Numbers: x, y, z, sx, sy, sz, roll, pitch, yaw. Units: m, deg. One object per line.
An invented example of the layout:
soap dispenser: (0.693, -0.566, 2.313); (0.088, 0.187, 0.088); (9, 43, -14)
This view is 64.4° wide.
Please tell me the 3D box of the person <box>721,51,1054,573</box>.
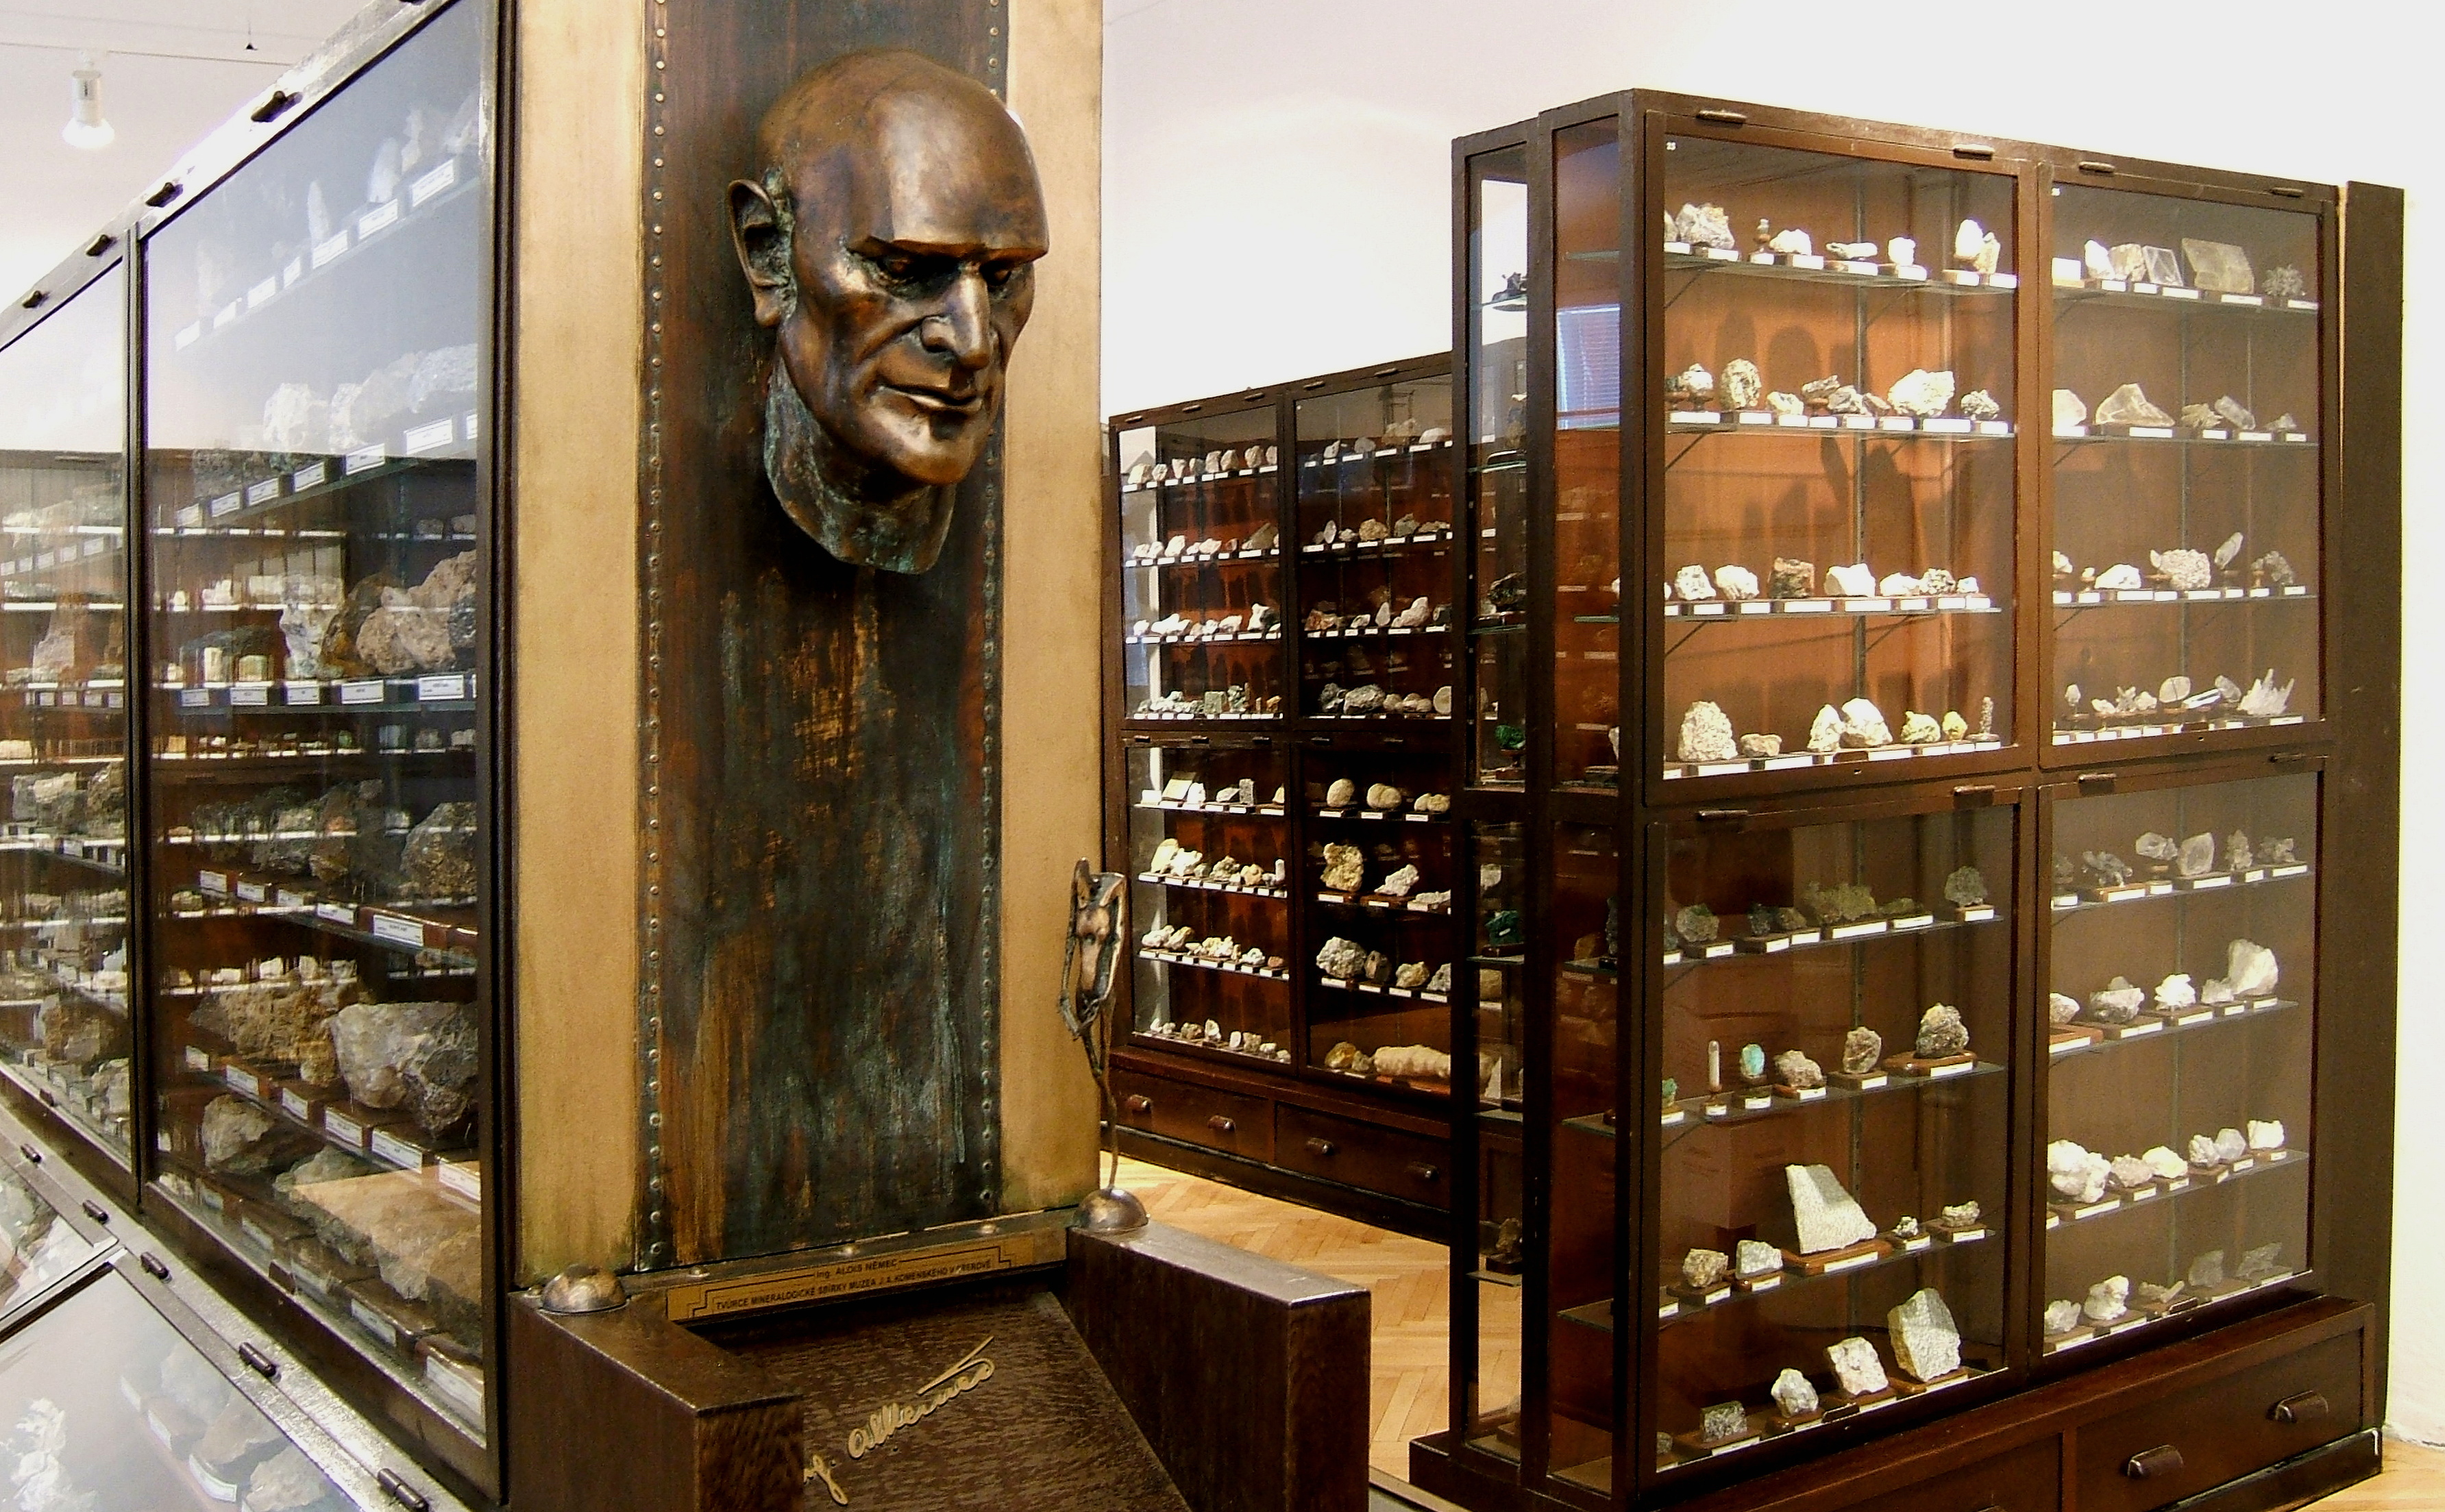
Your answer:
person: (-0.649, -0.889, 3.874); (0.617, 1.000, 0.585); (14, 14, 42)

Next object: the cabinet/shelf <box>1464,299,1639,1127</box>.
cabinet/shelf: (0.860, -0.153, 5.343); (0.175, 2.402, 0.602); (-2, 3, -28)

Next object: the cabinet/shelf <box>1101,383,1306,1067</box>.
cabinet/shelf: (-0.116, -0.137, 8.429); (0.318, 2.803, 1.087); (-3, 3, -39)

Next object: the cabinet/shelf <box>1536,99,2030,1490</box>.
cabinet/shelf: (1.552, 0.104, 5.403); (1.487, 3.701, 0.436); (-2, 3, -27)

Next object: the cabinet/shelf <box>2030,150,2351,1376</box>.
cabinet/shelf: (2.950, -0.031, 5.928); (1.162, 3.447, 0.301); (-3, 3, -32)
